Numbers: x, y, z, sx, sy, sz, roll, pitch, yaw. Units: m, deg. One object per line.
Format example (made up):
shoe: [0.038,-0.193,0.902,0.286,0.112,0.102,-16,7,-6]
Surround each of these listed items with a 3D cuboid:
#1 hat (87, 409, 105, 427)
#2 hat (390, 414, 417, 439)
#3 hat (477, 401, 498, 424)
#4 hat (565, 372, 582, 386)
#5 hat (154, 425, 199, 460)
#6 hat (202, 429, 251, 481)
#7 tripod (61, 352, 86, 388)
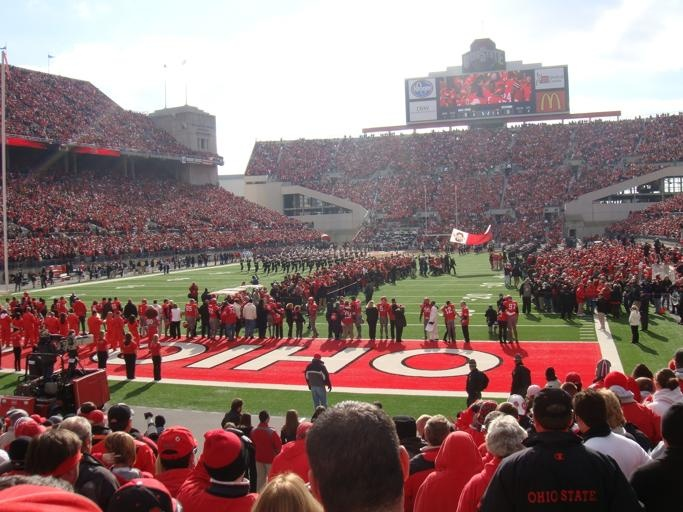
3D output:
hat: [-2.838,1.866,7.355,0.181,0.223,0.080,7,-5,-27]
hat: [0.716,1.890,6.994,0.217,0.209,0.533,-1,5,2]
hat: [1.575,1.638,6.871,0.171,0.239,0.207,12,23,19]
hat: [3.135,1.621,8.560,0.193,0.167,0.281,6,-2,25]
hat: [-1.483,1.675,5.708,0.315,0.234,0.217,-3,5,-19]
hat: [-0.921,1.553,5.085,0.385,0.360,0.294,-8,8,-13]
tripod: [-4.393,1.779,10.420,0.349,0.410,1.025,-3,5,-23]
